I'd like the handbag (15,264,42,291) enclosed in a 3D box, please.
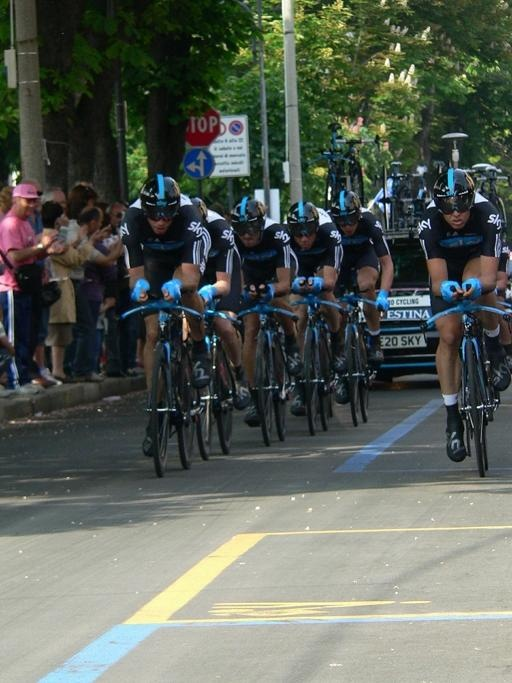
[{"bbox_3d":[-2.136,-0.603,11.416,0.138,0.252,0.298,0,2,40],"label":"handbag"}]

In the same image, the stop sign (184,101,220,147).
[{"bbox_3d":[-0.806,-3.291,18.791,0.621,0.653,0.501,-2,2,-30],"label":"stop sign"}]

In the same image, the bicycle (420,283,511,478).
[{"bbox_3d":[1.326,0.270,7.520,0.515,1.061,1.083,-2,1,8],"label":"bicycle"}]

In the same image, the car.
[{"bbox_3d":[1.804,-0.369,15.413,1.071,0.949,2.041,0,7,9],"label":"car"}]

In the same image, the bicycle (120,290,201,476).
[{"bbox_3d":[-0.566,0.288,7.698,0.458,1.115,1.111,-2,2,-2],"label":"bicycle"}]

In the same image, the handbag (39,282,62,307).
[{"bbox_3d":[-2.023,-0.460,11.867,0.312,0.193,0.398,-2,10,-9],"label":"handbag"}]

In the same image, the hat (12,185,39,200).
[{"bbox_3d":[-2.169,-1.394,11.228,0.216,0.094,0.157,0,0,41],"label":"hat"}]

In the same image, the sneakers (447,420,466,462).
[{"bbox_3d":[1.200,0.603,7.295,0.101,0.113,0.264,-4,36,11],"label":"sneakers"}]
